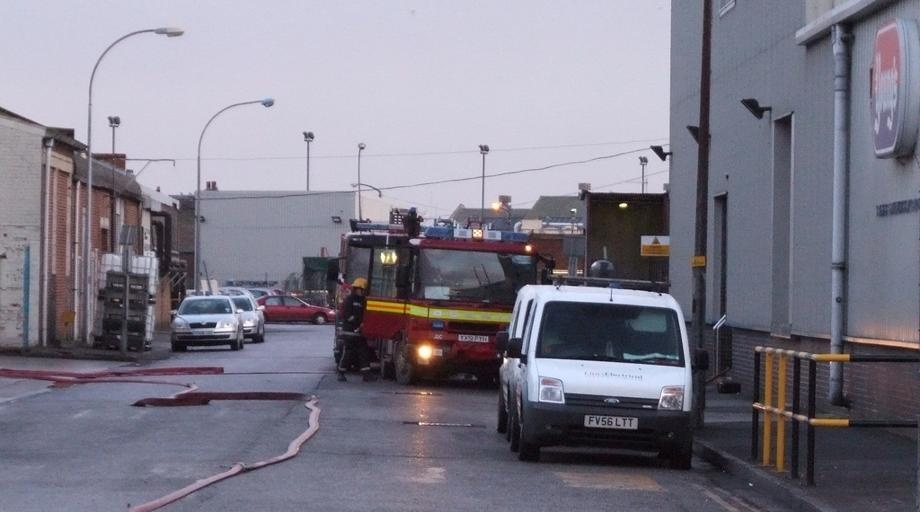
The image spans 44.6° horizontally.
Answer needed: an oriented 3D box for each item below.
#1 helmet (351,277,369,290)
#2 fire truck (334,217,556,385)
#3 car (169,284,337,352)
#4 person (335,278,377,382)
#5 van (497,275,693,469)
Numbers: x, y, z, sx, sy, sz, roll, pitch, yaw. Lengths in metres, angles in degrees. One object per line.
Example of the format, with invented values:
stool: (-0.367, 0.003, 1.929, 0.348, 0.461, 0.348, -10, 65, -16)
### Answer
helmet: (-2.868, 0.815, 32.102, 0.431, 0.325, 0.366, 15, 1, -3)
fire truck: (-0.051, 1.469, 35.520, 6.382, 4.413, 9.339, 2, -2, 3)
car: (-9.612, 2.586, 43.949, 2.194, 1.891, 5.463, 0, -1, -6)
person: (-2.915, 2.089, 32.393, 1.174, 2.938, 1.200, 0, -1, -16)
van: (2.881, 2.259, 23.396, 3.009, 2.932, 7.215, 0, -1, 2)
